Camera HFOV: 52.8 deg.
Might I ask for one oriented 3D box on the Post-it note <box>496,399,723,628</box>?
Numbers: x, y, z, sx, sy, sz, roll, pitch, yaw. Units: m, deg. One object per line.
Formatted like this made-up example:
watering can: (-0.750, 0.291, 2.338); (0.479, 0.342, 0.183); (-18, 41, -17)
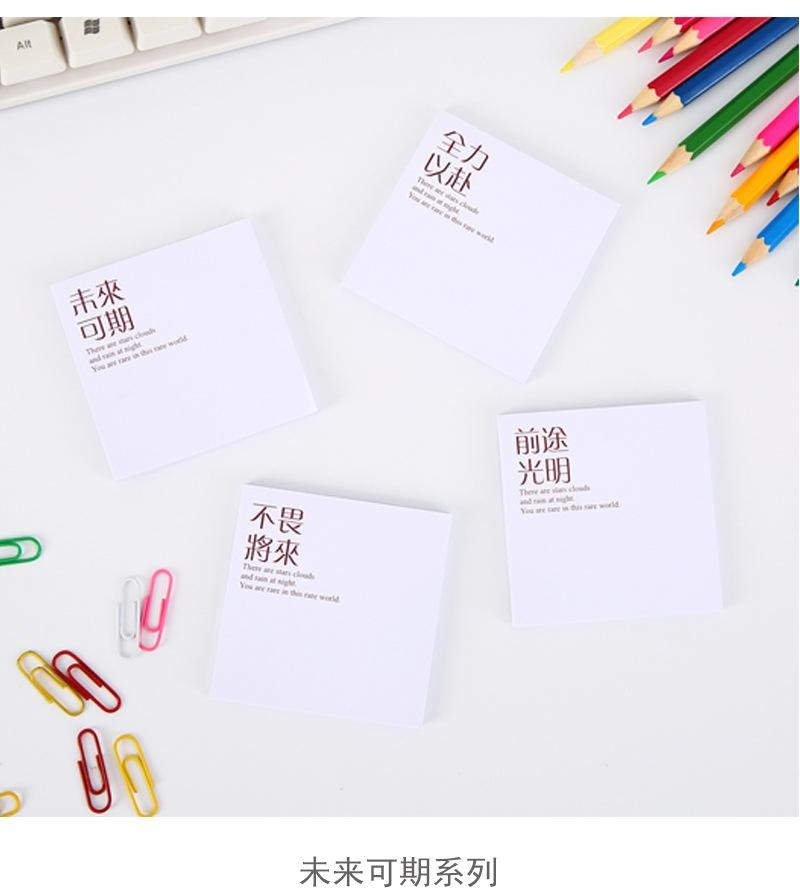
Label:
Post-it note: (0.203, 0.064, 0.780); (0.200, 0.123, 0.186); (-1, 60, -8)

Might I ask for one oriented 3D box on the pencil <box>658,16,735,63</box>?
pencil: (0.288, -0.396, 0.779); (0.012, 0.072, 0.012); (57, 24, 9)

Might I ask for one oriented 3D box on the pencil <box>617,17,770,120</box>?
pencil: (0.291, -0.370, 0.788); (0.162, 0.016, 0.017); (-34, 29, 3)

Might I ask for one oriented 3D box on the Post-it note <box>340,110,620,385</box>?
Post-it note: (0.057, -0.163, 0.794); (0.256, 0.060, 0.236); (30, 90, 4)

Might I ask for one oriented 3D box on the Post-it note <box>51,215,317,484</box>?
Post-it note: (-0.212, -0.097, 0.786); (0.200, 0.131, 0.201); (-17, 63, -17)

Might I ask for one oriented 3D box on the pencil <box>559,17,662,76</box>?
pencil: (0.206, -0.398, 0.797); (0.093, 0.013, 0.015); (-32, 20, 7)

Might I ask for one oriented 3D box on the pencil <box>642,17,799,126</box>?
pencil: (0.315, -0.368, 0.786); (0.172, 0.018, 0.018); (-35, 98, 2)

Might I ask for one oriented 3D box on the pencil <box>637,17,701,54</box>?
pencil: (0.263, -0.403, 0.785); (0.012, 0.044, 0.012); (34, 17, -32)
